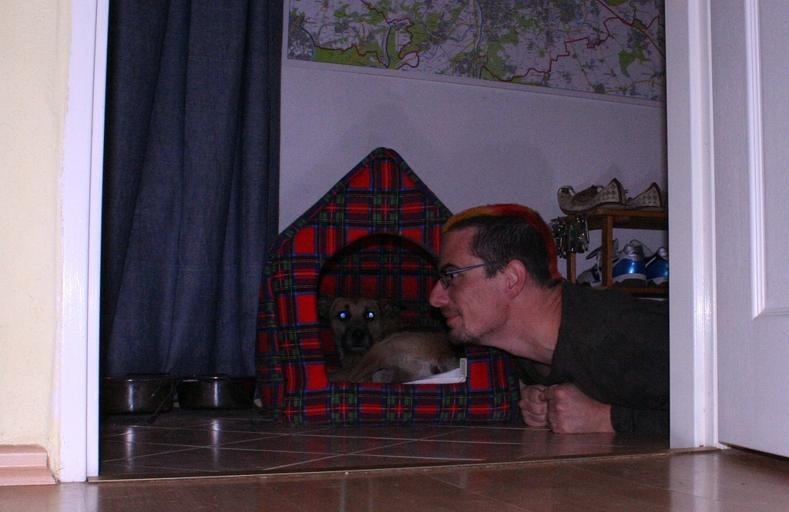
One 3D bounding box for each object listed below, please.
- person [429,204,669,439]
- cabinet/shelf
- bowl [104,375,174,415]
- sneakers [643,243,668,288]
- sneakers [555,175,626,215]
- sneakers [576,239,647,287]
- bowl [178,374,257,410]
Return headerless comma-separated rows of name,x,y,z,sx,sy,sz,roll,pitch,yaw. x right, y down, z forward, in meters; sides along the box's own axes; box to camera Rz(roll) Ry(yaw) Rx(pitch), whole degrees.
person,0.528,0.281,2.682,0.962,0.632,0.574,10,-43,16
cabinet/shelf,1.210,-0.049,3.881,0.469,0.547,0.606,-1,3,-5
bowl,-1.061,0.584,2.925,0.268,0.164,0.290,-2,-6,0
sneakers,1.363,0.048,3.708,0.139,0.164,0.402,0,13,17
sneakers,1.012,-0.328,3.775,0.169,0.177,0.438,-5,4,-26
sneakers,1.174,0.043,3.816,0.187,0.217,0.533,0,0,-4
bowl,-0.809,0.608,3.113,0.368,0.145,0.095,-3,-5,7
